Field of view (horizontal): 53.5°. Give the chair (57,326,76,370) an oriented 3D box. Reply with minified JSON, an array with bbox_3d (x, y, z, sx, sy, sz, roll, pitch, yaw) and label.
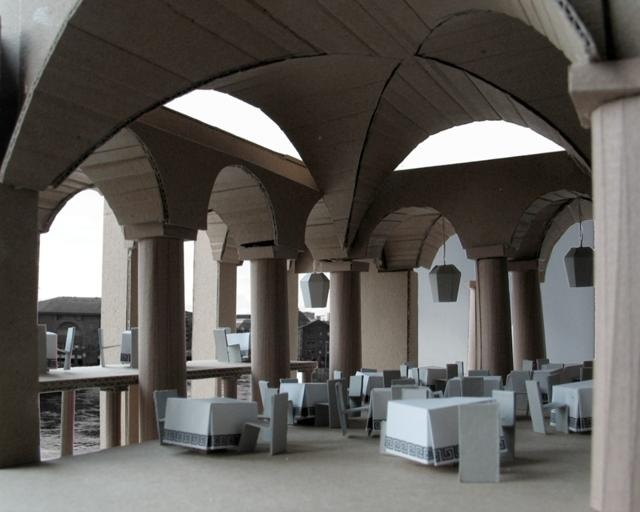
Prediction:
[{"bbox_3d":[-5.996,2.144,14.744,0.426,0.770,0.508,7,7,5],"label":"chair"}]

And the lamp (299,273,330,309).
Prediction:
[{"bbox_3d":[-0.121,0.958,18.974,0.831,1.142,1.021,3,7,28],"label":"lamp"}]

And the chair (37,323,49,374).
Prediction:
[{"bbox_3d":[-5.940,1.936,13.641,0.204,1.108,0.258,0,1,6],"label":"chair"}]
